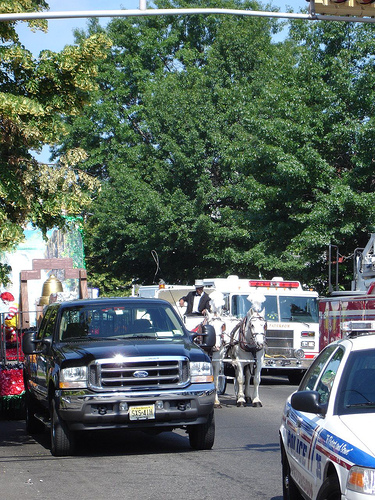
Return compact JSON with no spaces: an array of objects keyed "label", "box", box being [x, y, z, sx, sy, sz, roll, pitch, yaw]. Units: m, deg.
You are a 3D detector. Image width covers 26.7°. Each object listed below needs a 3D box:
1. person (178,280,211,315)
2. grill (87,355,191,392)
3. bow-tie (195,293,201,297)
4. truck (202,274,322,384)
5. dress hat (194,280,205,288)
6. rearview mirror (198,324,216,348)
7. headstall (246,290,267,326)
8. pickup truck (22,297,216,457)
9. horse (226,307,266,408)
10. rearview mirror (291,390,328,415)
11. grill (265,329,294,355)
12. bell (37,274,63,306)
[{"label":"person","box":[0.215,1.170,18.363,0.703,0.974,0.682,14,-6,9]},{"label":"grill","box":[-0.565,1.364,8.784,0.909,0.415,0.488,3,-5,-23]},{"label":"bow-tie","box":[0.250,1.064,18.595,0.117,0.052,0.030,-9,6,31]},{"label":"truck","box":[2.035,1.926,20.733,1.973,2.051,3.600,1,-5,-15]},{"label":"dress hat","box":[0.321,0.865,20.397,0.333,0.219,0.451,0,-4,-1]},{"label":"rearview mirror","box":[0.272,1.150,10.521,0.259,0.358,0.289,1,-4,5]},{"label":"headstall","box":[1.359,1.116,15.592,0.389,0.459,1.220,-12,4,5]},{"label":"pickup truck","box":[-1.062,1.630,10.674,2.388,1.807,4.072,-1,-6,-17]},{"label":"horse","box":[1.190,2.277,15.981,0.642,1.838,2.375,5,-13,-6]},{"label":"rearview mirror","box":[0.786,0.966,4.997,0.188,0.073,0.134,9,0,-21]},{"label":"grill","box":[2.263,2.315,19.576,0.963,0.794,0.305,4,-12,-20]},{"label":"bell","box":[-3.876,1.135,22.020,1.005,1.073,0.988,1,-8,-9]}]
